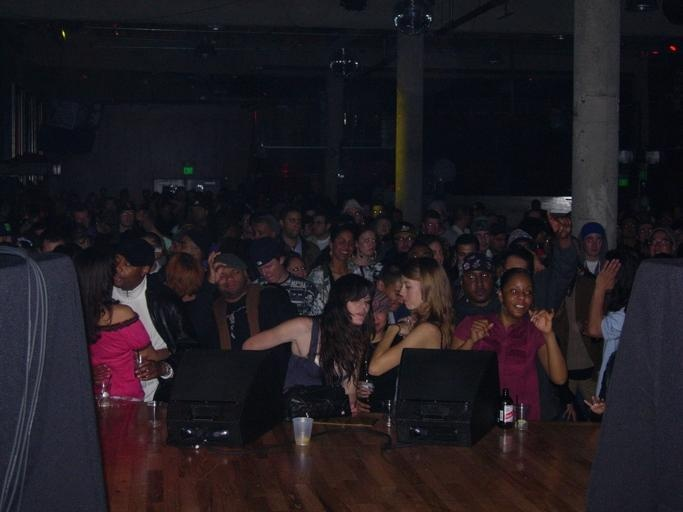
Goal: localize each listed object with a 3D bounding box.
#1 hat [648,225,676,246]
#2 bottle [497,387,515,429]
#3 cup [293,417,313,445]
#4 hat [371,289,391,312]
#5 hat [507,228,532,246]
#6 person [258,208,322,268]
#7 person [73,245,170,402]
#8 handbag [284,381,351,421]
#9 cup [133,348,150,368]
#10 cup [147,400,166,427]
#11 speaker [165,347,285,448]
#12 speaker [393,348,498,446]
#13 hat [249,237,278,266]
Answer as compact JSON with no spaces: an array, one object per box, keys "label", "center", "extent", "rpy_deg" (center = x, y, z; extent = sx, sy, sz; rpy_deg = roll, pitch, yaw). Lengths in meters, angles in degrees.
[{"label":"hat","center":[2.733,-0.145,5.553],"extent":[0.134,0.175,0.185],"rpy_deg":[-19,-11,34]},{"label":"bottle","center":[0.869,0.803,3.443],"extent":[0.084,0.205,0.110],"rpy_deg":[3,2,27]},{"label":"cup","center":[-0.192,0.874,3.236],"extent":[0.125,0.131,0.123],"rpy_deg":[0,-3,0]},{"label":"hat","center":[0.252,0.286,4.130],"extent":[0.111,0.142,0.144],"rpy_deg":[7,-27,-10]},{"label":"hat","center":[1.723,-0.182,6.339],"extent":[0.205,0.152,0.376],"rpy_deg":[2,1,13]},{"label":"person","center":[-0.493,-0.174,6.619],"extent":[0.400,0.740,0.700],"rpy_deg":[1,7,37]},{"label":"person","center":[-1.342,0.425,3.985],"extent":[0.516,0.921,0.244],"rpy_deg":[1,2,-22]},{"label":"handbag","center":[-0.125,0.786,3.558],"extent":[0.279,0.098,0.198],"rpy_deg":[2,-4,-22]},{"label":"cup","center":[-1.118,0.578,3.660],"extent":[0.066,0.079,0.128],"rpy_deg":[1,1,-21]},{"label":"cup","center":[-0.999,0.877,3.585],"extent":[0.108,0.124,0.118],"rpy_deg":[1,-3,0]},{"label":"speaker","center":[-0.560,0.697,3.351],"extent":[0.409,0.389,0.556],"rpy_deg":[0,2,20]},{"label":"speaker","center":[0.552,0.688,3.384],"extent":[0.462,0.417,0.486],"rpy_deg":[-1,-2,28]},{"label":"hat","center":[-0.587,-0.032,5.128],"extent":[0.179,0.185,0.242],"rpy_deg":[-22,-11,2]}]
